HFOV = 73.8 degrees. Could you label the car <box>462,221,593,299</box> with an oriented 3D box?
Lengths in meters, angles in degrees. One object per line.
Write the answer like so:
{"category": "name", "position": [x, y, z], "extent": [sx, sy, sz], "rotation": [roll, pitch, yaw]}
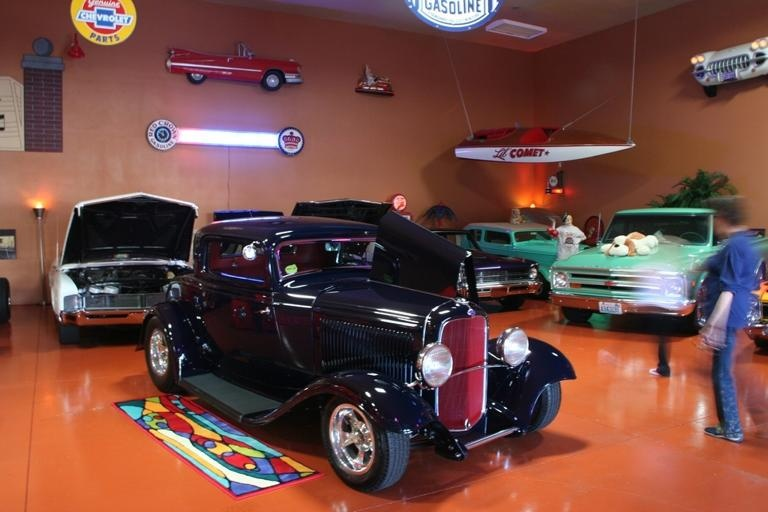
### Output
{"category": "car", "position": [2.908, -0.016, 10.524], "extent": [1.375, 0.989, 2.355], "rotation": [-4, 5, -38]}

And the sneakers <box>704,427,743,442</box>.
{"category": "sneakers", "position": [3.092, 1.624, 4.728], "extent": [0.116, 0.129, 0.340], "rotation": [-3, -2, -42]}

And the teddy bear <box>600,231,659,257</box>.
{"category": "teddy bear", "position": [3.775, -0.180, 7.735], "extent": [0.513, 0.193, 0.501], "rotation": [-4, 2, -28]}

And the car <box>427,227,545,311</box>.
{"category": "car", "position": [1.705, 0.219, 9.471], "extent": [1.371, 0.828, 2.338], "rotation": [-4, 6, -37]}

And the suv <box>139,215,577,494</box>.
{"category": "suv", "position": [-0.703, 0.756, 5.111], "extent": [3.851, 1.556, 2.162], "rotation": [9, 6, 44]}

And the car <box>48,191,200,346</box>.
{"category": "car", "position": [-4.133, 0.003, 8.151], "extent": [1.635, 1.447, 2.754], "rotation": [-1, 1, -28]}

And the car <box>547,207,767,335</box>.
{"category": "car", "position": [3.748, 0.175, 7.628], "extent": [1.748, 1.303, 3.469], "rotation": [-2, 0, 45]}

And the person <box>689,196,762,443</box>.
{"category": "person", "position": [3.079, 0.561, 4.581], "extent": [0.492, 2.189, 0.522], "rotation": [7, 13, 29]}

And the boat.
{"category": "boat", "position": [3.730, -2.635, 12.504], "extent": [4.613, 0.926, 1.372], "rotation": [2, 8, 20]}
